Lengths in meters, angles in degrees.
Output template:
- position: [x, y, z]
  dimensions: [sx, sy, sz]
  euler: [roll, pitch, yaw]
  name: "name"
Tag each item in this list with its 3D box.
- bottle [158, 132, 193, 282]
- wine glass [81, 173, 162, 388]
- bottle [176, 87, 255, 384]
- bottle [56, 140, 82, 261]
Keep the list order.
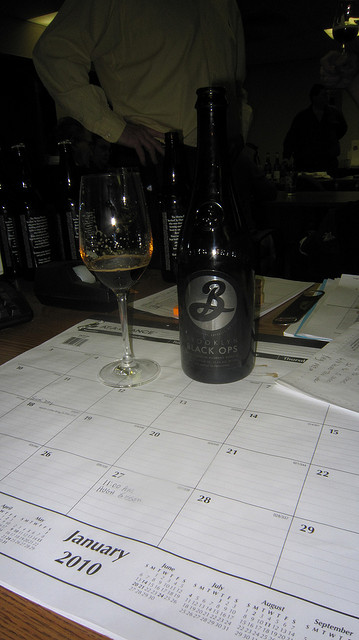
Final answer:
- position: [0.000, -0.230, 0.873]
  dimensions: [0.052, 0.307, 0.070]
  euler: [2, 18, 10]
  name: "bottle"
- position: [-0.074, -0.066, 0.569]
  dimensions: [0.088, 0.239, 0.219]
  euler: [-7, 20, 0]
  name: "wine glass"
- position: [0.039, -0.070, 0.510]
  dimensions: [0.090, 0.338, 0.099]
  euler: [0, 18, 10]
  name: "bottle"
- position: [-0.235, -0.242, 0.931]
  dimensions: [0.056, 0.230, 0.056]
  euler: [5, 32, -3]
  name: "bottle"
